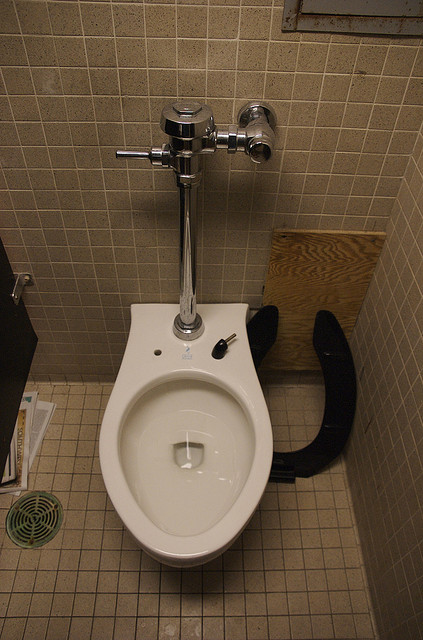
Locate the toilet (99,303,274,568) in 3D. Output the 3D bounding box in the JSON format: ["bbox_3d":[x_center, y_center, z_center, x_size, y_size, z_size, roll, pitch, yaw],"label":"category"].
[{"bbox_3d":[-0.047,0.277,1.083,0.384,0.442,0.673,-1,57,-1],"label":"toilet"}]
